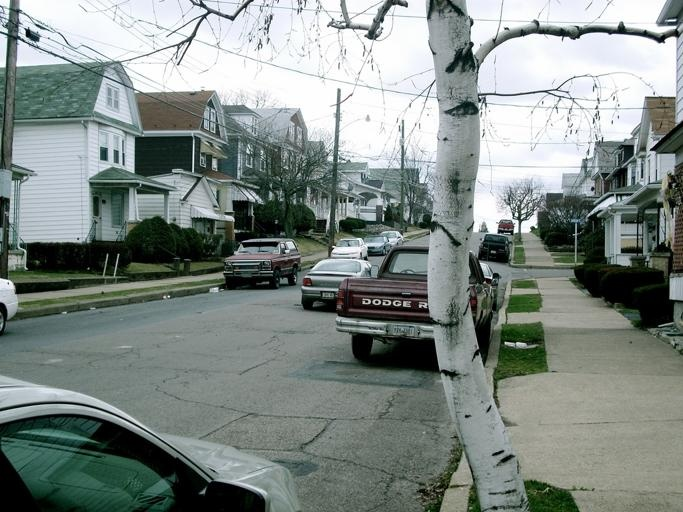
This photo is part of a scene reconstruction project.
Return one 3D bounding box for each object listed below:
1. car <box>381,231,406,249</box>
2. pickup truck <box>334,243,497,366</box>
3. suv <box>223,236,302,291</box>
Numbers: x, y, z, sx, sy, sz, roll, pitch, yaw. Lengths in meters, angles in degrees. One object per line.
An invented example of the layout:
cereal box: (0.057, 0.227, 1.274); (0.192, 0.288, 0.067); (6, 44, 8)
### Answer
car: (3.774, -1.360, 50.227); (1.648, 1.112, 3.405); (0, -2, 11)
pickup truck: (1.137, 0.719, 12.503); (1.660, 1.118, 3.062); (0, 3, 16)
suv: (-2.884, 0.197, 26.723); (1.679, 1.147, 2.973); (-1, -1, 12)
